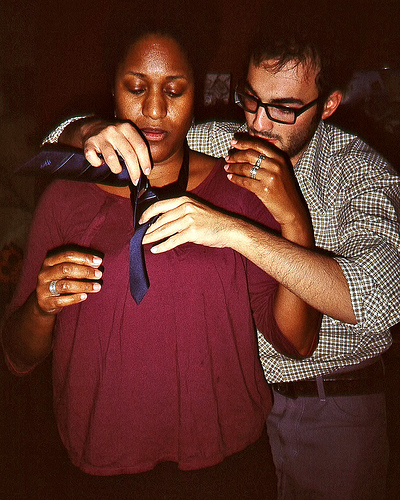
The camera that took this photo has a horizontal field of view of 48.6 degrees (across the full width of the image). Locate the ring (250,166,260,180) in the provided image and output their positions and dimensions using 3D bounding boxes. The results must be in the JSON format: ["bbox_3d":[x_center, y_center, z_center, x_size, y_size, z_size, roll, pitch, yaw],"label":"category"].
[{"bbox_3d":[0.123,-0.176,1.006,0.024,0.025,0.025,23,5,-2],"label":"ring"}]

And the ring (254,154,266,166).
[{"bbox_3d":[0.139,-0.207,1.014,0.010,0.037,0.013,27,0,-35],"label":"ring"}]

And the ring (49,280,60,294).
[{"bbox_3d":[-0.297,0.077,0.906,0.008,0.025,0.022,-3,12,-9],"label":"ring"}]
